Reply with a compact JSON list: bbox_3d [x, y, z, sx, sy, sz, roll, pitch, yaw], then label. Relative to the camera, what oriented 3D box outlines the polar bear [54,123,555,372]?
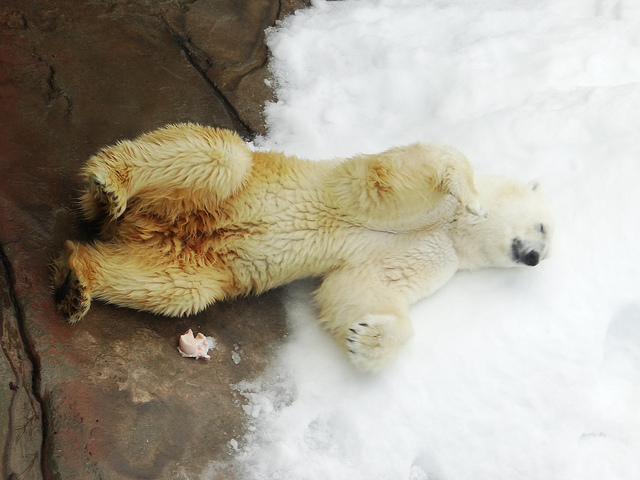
[{"bbox_3d":[0.031,-0.095,4.756,0.990,3.094,1.314,54,128,54],"label":"polar bear"}]
